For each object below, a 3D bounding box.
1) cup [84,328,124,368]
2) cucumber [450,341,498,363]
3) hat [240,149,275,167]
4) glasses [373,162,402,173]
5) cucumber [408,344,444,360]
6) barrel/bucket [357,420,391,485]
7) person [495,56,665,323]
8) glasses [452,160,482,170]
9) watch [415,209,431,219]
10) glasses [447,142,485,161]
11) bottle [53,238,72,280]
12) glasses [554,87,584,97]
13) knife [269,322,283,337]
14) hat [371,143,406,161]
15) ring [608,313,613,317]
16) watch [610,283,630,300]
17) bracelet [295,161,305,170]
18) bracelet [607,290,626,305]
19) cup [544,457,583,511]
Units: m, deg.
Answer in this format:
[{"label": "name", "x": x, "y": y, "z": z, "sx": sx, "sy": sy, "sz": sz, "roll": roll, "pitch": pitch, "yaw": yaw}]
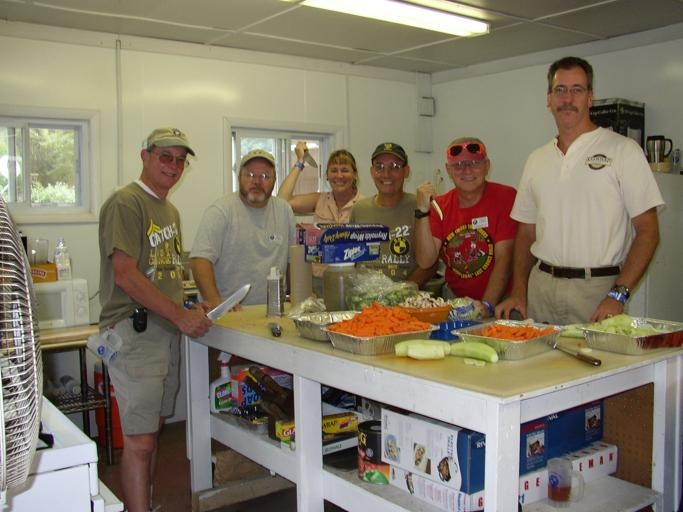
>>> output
[{"label": "cup", "x": -1.132, "y": 0.431, "z": 2.606, "sx": 0.147, "sy": 0.170, "sz": 0.102, "roll": 3, "pitch": 10, "yaw": 32}, {"label": "cucumber", "x": 0.445, "y": 0.323, "z": 1.866, "sx": 0.050, "sy": 0.061, "sz": 0.182, "roll": -8, "pitch": 11, "yaw": -34}, {"label": "hat", "x": -0.477, "y": -0.552, "z": 3.105, "sx": 0.116, "sy": 0.064, "sz": 0.159, "roll": 2, "pitch": 3, "yaw": -9}, {"label": "glasses", "x": 0.278, "y": -0.536, "z": 3.268, "sx": 0.189, "sy": 0.081, "sz": 0.057, "roll": -1, "pitch": 9, "yaw": 6}, {"label": "cucumber", "x": 0.287, "y": 0.326, "z": 1.872, "sx": 0.104, "sy": 0.021, "sz": 0.052, "roll": 4, "pitch": 31, "yaw": -10}, {"label": "barrel/bucket", "x": 0.112, "y": 0.751, "z": 2.080, "sx": 0.169, "sy": 0.191, "sz": 0.172, "roll": 0, "pitch": -7, "yaw": 0}, {"label": "person", "x": 1.067, "y": -0.273, "z": 2.514, "sx": 0.696, "sy": 1.276, "sz": 0.567, "roll": 4, "pitch": 11, "yaw": 34}, {"label": "glasses", "x": 0.661, "y": -0.482, "z": 2.887, "sx": 0.138, "sy": 0.050, "sz": 0.038, "roll": -1, "pitch": 9, "yaw": 4}, {"label": "watch", "x": 0.418, "y": -0.221, "z": 2.875, "sx": 0.056, "sy": 0.035, "sz": 0.050, "roll": -3, "pitch": 3, "yaw": -40}, {"label": "glasses", "x": 0.664, "y": -0.561, "z": 2.906, "sx": 0.201, "sy": 0.087, "sz": 0.131, "roll": 0, "pitch": 9, "yaw": 10}, {"label": "bottle", "x": -2.112, "y": 0.014, "z": 4.128, "sx": 0.119, "sy": 0.271, "sz": 0.448, "roll": -7, "pitch": 10, "yaw": -27}, {"label": "glasses", "x": 1.050, "y": -0.762, "z": 2.522, "sx": 0.129, "sy": 0.048, "sz": 0.040, "roll": 1, "pitch": 9, "yaw": 21}, {"label": "knife", "x": -0.287, "y": 0.319, "z": 2.351, "sx": 0.025, "sy": 0.043, "sz": 0.108, "roll": -3, "pitch": -4, "yaw": -20}, {"label": "hat", "x": 0.292, "y": -0.644, "z": 3.405, "sx": 0.197, "sy": 0.132, "sz": 0.364, "roll": -1, "pitch": 9, "yaw": 4}, {"label": "ring", "x": 1.059, "y": 0.231, "z": 2.159, "sx": 0.013, "sy": 0.013, "sz": 0.013, "roll": -4, "pitch": 8, "yaw": 1}, {"label": "watch", "x": 1.153, "y": 0.151, "z": 2.288, "sx": 0.063, "sy": 0.066, "sz": 0.067, "roll": 17, "pitch": -12, "yaw": 12}, {"label": "bracelet", "x": -0.366, "y": -0.817, "z": 4.949, "sx": 0.080, "sy": 0.058, "sz": 0.084, "roll": 31, "pitch": 7, "yaw": 21}, {"label": "bracelet", "x": 1.142, "y": 0.165, "z": 2.276, "sx": 0.074, "sy": 0.050, "sz": 0.070, "roll": 20, "pitch": -4, "yaw": 36}, {"label": "cup", "x": 0.769, "y": 0.785, "z": 1.917, "sx": 0.099, "sy": 0.169, "sz": 0.166, "roll": 0, "pitch": 0, "yaw": -41}]
